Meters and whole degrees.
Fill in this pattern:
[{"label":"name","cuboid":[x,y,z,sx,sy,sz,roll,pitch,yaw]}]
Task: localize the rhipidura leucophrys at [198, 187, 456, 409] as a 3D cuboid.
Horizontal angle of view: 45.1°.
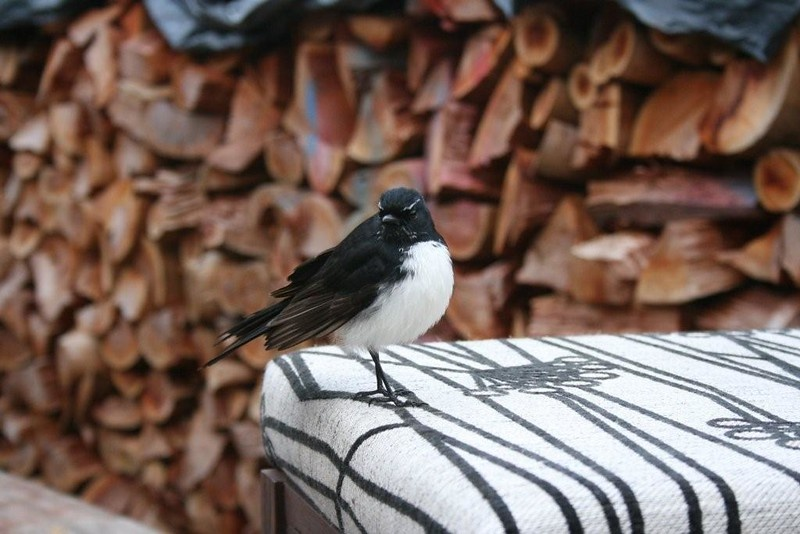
[{"label":"rhipidura leucophrys","cuboid":[-0.189,0.075,2.712,0.598,0.628,0.362,1,4,10]}]
